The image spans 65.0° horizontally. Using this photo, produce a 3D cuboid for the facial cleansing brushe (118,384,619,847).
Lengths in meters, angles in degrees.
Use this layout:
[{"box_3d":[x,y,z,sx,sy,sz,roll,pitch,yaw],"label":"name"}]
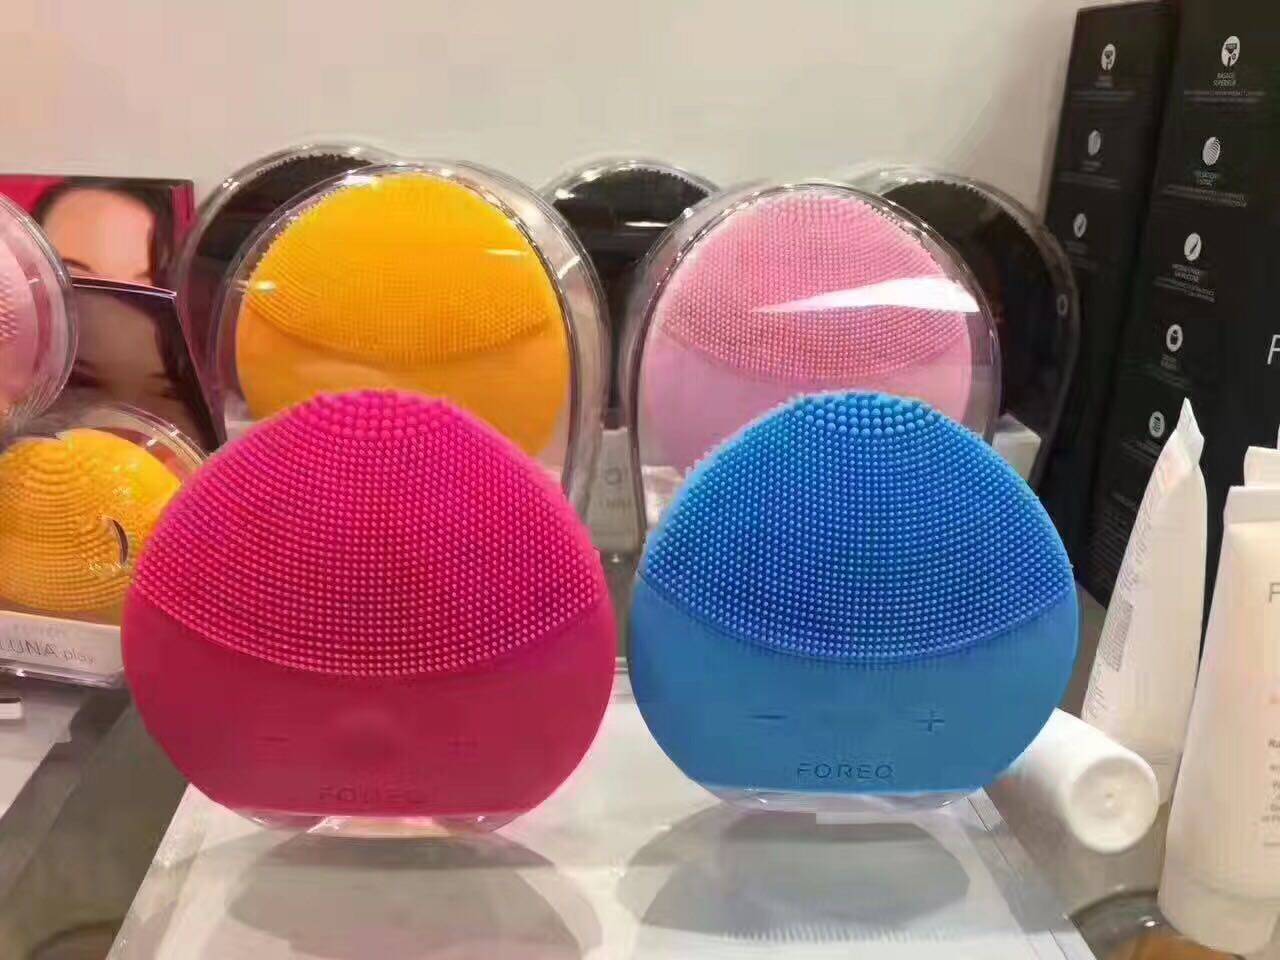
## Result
[{"box_3d":[-0.123,0.068,0.475,0.218,0.210,0.047,3,14,-3],"label":"facial cleansing brushe"}]
